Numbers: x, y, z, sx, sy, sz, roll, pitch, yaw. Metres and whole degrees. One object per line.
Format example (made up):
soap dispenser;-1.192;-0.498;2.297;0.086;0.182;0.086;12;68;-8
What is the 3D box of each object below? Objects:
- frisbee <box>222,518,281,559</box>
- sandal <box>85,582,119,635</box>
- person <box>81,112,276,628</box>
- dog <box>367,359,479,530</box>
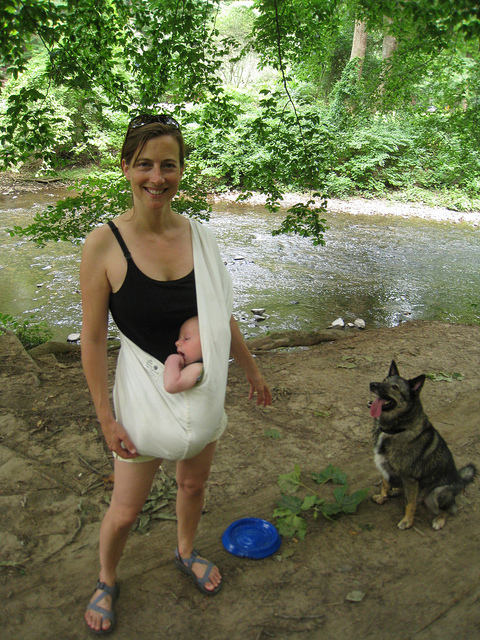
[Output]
frisbee;0.085;1.567;3.778;0.424;0.068;0.410;2;18;-2
sandal;-0.801;1.699;3.118;0.137;0.125;0.344;3;10;-2
person;-0.466;0.372;2.892;0.833;2.882;0.631;2;16;7
dog;1.378;0.961;3.984;0.808;1.166;0.530;3;16;12
